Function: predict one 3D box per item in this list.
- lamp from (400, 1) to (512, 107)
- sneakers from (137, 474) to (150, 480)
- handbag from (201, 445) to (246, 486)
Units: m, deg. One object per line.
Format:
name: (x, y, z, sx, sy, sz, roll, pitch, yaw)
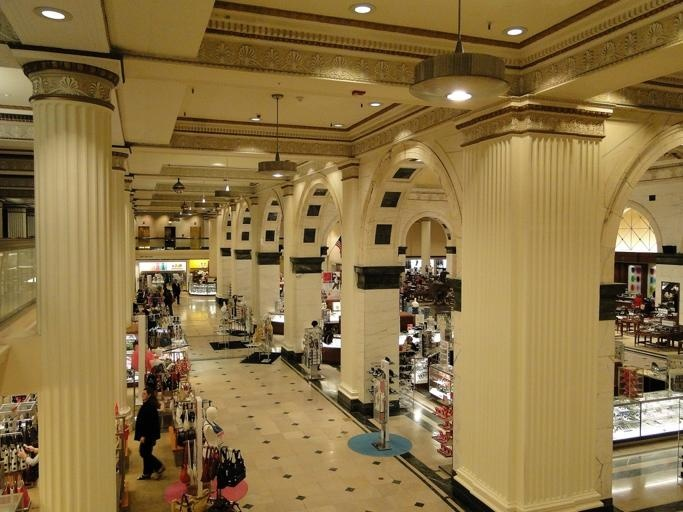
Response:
lamp: (1.046, -2.044, 4.988, 0.864, 1.146, 1.469, 0, 5, 0)
sneakers: (-3.100, 3.449, 8.174, 0.200, 0.078, 0.073, 6, -6, -9)
handbag: (-1.543, 2.709, 6.741, 0.546, 0.486, 0.421, 0, 5, 9)
